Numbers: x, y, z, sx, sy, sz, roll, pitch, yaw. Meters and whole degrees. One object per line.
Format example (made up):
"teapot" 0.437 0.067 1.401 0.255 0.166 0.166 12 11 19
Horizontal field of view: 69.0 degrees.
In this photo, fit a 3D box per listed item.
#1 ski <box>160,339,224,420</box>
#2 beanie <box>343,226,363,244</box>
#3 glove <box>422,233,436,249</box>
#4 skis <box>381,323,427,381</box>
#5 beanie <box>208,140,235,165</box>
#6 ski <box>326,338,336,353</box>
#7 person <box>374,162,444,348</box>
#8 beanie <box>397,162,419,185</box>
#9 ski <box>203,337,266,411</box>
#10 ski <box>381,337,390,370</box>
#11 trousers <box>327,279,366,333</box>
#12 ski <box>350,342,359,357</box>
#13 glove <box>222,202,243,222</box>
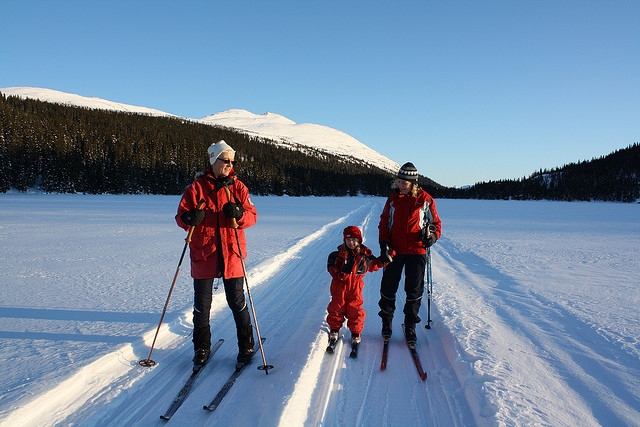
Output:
"ski" -1.853 2.437 6.734 0.125 0.194 1.618 9 30 7
"beanie" 0.523 0.346 7.511 0.199 0.256 0.297 0 3 16
"glove" 1.709 0.437 7.262 0.173 0.144 0.204 -23 -9 12
"skis" 1.361 2.222 7.316 0.235 0.212 1.845 2 24 -2
"beanie" -1.482 -0.906 6.884 0.337 0.342 0.259 22 22 31
"ski" 0.176 2.101 7.359 0.076 0.253 0.075 16 -29 15
"person" 1.396 0.640 7.375 0.909 2.814 0.424 0 4 8
"beanie" 1.381 -0.611 7.320 0.314 0.333 0.191 1 4 10
"ski" -1.255 2.377 6.791 0.143 0.162 1.473 12 31 10
"ski" 1.006 2.166 7.186 0.067 0.105 0.716 -5 23 10
"trousers" 0.451 1.477 7.572 0.597 0.381 1.056 9 47 -1
"ski" 0.537 2.138 7.283 0.136 0.241 0.160 3 -6 4
"glove" -1.269 -0.007 6.759 0.278 0.289 0.104 -1 4 -13
